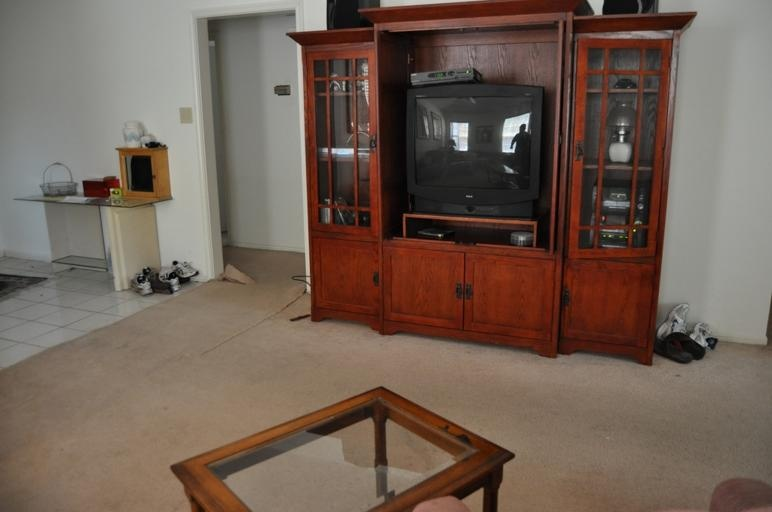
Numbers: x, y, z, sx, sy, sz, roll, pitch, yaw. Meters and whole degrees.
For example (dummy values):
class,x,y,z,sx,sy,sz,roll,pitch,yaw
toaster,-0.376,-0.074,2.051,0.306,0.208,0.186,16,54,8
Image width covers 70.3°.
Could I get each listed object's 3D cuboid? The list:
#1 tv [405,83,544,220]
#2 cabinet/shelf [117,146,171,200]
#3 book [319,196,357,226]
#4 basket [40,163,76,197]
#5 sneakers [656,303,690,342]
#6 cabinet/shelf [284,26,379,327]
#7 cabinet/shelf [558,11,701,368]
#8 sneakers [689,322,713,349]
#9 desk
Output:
class,x,y,z,sx,sy,sz,roll,pitch,yaw
tv,0.693,-0.808,4.147,1.026,0.883,0.523,3,14,14
cabinet/shelf,-2.406,-0.830,5.485,0.554,0.509,0.244,3,9,17
book,-0.387,-0.387,4.613,0.333,0.303,0.234,6,15,25
basket,-3.505,-0.805,5.836,0.364,0.311,0.260,-9,12,-34
sneakers,2.212,0.521,4.214,0.105,0.303,0.131,36,1,-1
cabinet/shelf,-0.347,-0.625,4.515,0.933,2.461,0.658,-1,17,3
cabinet/shelf,1.652,-0.414,3.876,0.726,2.390,0.365,2,16,16
sneakers,2.381,0.602,4.151,0.161,0.204,0.082,15,-22,34
desk,-2.877,-0.028,5.610,0.815,1.510,0.626,-20,-10,24
